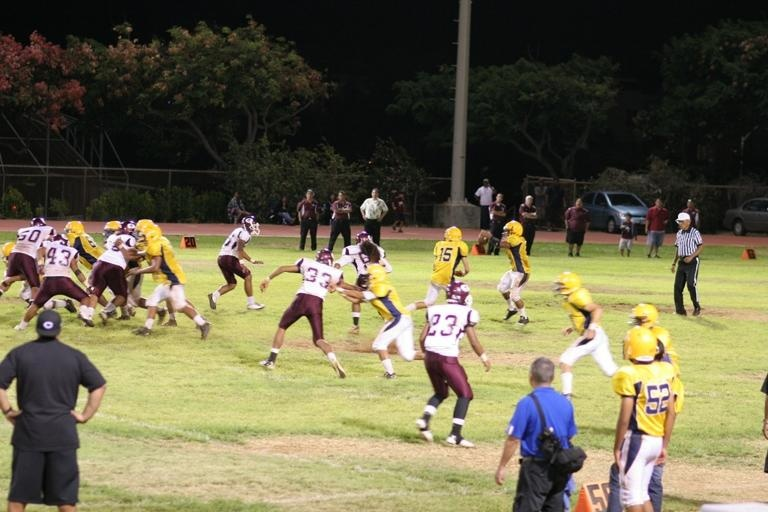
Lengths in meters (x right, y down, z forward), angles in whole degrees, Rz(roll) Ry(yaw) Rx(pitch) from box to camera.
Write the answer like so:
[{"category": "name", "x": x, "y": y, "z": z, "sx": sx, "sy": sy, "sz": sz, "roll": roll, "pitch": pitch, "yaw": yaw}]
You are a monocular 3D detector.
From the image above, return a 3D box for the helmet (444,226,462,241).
[{"category": "helmet", "x": 1.624, "y": -0.503, "z": 25.010, "sx": 0.339, "sy": 0.309, "sz": 0.482, "roll": 3, "pitch": 2, "yaw": -3}]

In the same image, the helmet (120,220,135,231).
[{"category": "helmet", "x": -5.811, "y": -0.644, "z": 23.854, "sx": 0.315, "sy": 0.267, "sz": 0.489, "roll": 2, "pitch": 2, "yaw": -14}]

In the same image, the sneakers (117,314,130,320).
[{"category": "sneakers", "x": -6.106, "y": 1.447, "z": 24.682, "sx": 0.274, "sy": 0.124, "sz": 0.250, "roll": 2, "pitch": 2, "yaw": -14}]

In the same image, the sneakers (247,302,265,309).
[{"category": "sneakers", "x": -3.259, "y": 1.271, "z": 26.512, "sx": 0.295, "sy": 0.114, "sz": 0.173, "roll": -1, "pitch": 8, "yaw": 5}]

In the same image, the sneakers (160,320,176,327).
[{"category": "sneakers", "x": -5.021, "y": 1.546, "z": 24.490, "sx": 0.391, "sy": 0.183, "sz": 0.299, "roll": 3, "pitch": 2, "yaw": 18}]

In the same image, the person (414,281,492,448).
[{"category": "person", "x": 1.199, "y": 1.922, "z": 18.979, "sx": 1.135, "sy": 2.831, "sz": 1.358, "roll": 3, "pitch": 3, "yaw": 4}]

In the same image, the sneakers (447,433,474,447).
[{"category": "sneakers", "x": 1.299, "y": 3.248, "z": 18.572, "sx": 0.558, "sy": 0.215, "sz": 0.191, "roll": 8, "pitch": -1, "yaw": -5}]

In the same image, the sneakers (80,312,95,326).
[{"category": "sneakers", "x": -6.678, "y": 1.420, "z": 23.559, "sx": 0.255, "sy": 0.123, "sz": 0.245, "roll": 40, "pitch": 2, "yaw": -3}]

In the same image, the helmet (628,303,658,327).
[{"category": "helmet", "x": 4.281, "y": 0.980, "z": 17.405, "sx": 0.438, "sy": 0.336, "sz": 0.483, "roll": 3, "pitch": 2, "yaw": 8}]

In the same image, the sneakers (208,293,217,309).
[{"category": "sneakers", "x": -4.275, "y": 1.131, "z": 25.976, "sx": 0.199, "sy": 0.459, "sz": 0.174, "roll": -3, "pitch": 7, "yaw": 6}]

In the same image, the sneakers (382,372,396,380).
[{"category": "sneakers", "x": 0.058, "y": 2.425, "z": 21.396, "sx": 0.288, "sy": 0.158, "sz": 0.293, "roll": 4, "pitch": 2, "yaw": 26}]

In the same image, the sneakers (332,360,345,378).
[{"category": "sneakers", "x": -0.940, "y": 2.280, "z": 21.061, "sx": 0.149, "sy": 0.340, "sz": 0.258, "roll": -39, "pitch": 14, "yaw": -4}]

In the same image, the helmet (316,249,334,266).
[{"category": "helmet", "x": -1.203, "y": 0.015, "z": 21.194, "sx": 0.279, "sy": 0.326, "sz": 0.328, "roll": 5, "pitch": -12, "yaw": -14}]

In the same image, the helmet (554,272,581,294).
[{"category": "helmet", "x": 3.456, "y": 0.520, "z": 19.938, "sx": 0.481, "sy": 0.392, "sz": 0.351, "roll": 0, "pitch": 6, "yaw": 11}]

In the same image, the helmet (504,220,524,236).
[{"category": "helmet", "x": 3.119, "y": -0.654, "z": 25.470, "sx": 0.381, "sy": 0.325, "sz": 0.480, "roll": 3, "pitch": 2, "yaw": 2}]

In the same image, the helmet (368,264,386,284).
[{"category": "helmet", "x": -0.191, "y": 0.381, "z": 20.482, "sx": 0.433, "sy": 0.506, "sz": 0.300, "roll": 2, "pitch": -11, "yaw": -9}]

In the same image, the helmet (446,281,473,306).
[{"category": "helmet", "x": 1.360, "y": 0.694, "z": 19.667, "sx": 0.511, "sy": 0.465, "sz": 0.380, "roll": -1, "pitch": 4, "yaw": -39}]

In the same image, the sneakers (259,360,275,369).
[{"category": "sneakers", "x": -2.453, "y": 2.228, "z": 21.566, "sx": 0.370, "sy": 0.154, "sz": 0.142, "roll": 13, "pitch": 16, "yaw": 10}]

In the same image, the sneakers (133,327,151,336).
[{"category": "sneakers", "x": -5.374, "y": 1.664, "z": 23.389, "sx": 0.405, "sy": 0.164, "sz": 0.152, "roll": 5, "pitch": 32, "yaw": 3}]

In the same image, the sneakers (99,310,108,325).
[{"category": "sneakers", "x": -6.422, "y": 1.400, "z": 23.859, "sx": 0.243, "sy": 0.284, "sz": 0.306, "roll": 1, "pitch": 8, "yaw": -7}]

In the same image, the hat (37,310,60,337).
[{"category": "hat", "x": -4.977, "y": 0.943, "z": 15.606, "sx": 0.308, "sy": 0.224, "sz": 0.424, "roll": 4, "pitch": 23, "yaw": -16}]

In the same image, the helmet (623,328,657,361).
[{"category": "helmet", "x": 3.940, "y": 1.386, "z": 16.177, "sx": 0.423, "sy": 0.426, "sz": 0.538, "roll": 4, "pitch": 21, "yaw": 2}]

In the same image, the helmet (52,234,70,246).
[{"category": "helmet", "x": -7.274, "y": -0.350, "z": 23.564, "sx": 0.164, "sy": 0.286, "sz": 0.245, "roll": -34, "pitch": -11, "yaw": 25}]

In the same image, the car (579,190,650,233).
[{"category": "car", "x": 11.086, "y": -2.072, "z": 49.689, "sx": 2.214, "sy": 1.481, "sz": 3.670, "roll": -1, "pitch": 2, "yaw": -23}]

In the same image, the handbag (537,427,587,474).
[{"category": "handbag", "x": 2.632, "y": 2.943, "z": 15.804, "sx": 0.670, "sy": 0.308, "sz": 0.697, "roll": 46, "pitch": 27, "yaw": 26}]
